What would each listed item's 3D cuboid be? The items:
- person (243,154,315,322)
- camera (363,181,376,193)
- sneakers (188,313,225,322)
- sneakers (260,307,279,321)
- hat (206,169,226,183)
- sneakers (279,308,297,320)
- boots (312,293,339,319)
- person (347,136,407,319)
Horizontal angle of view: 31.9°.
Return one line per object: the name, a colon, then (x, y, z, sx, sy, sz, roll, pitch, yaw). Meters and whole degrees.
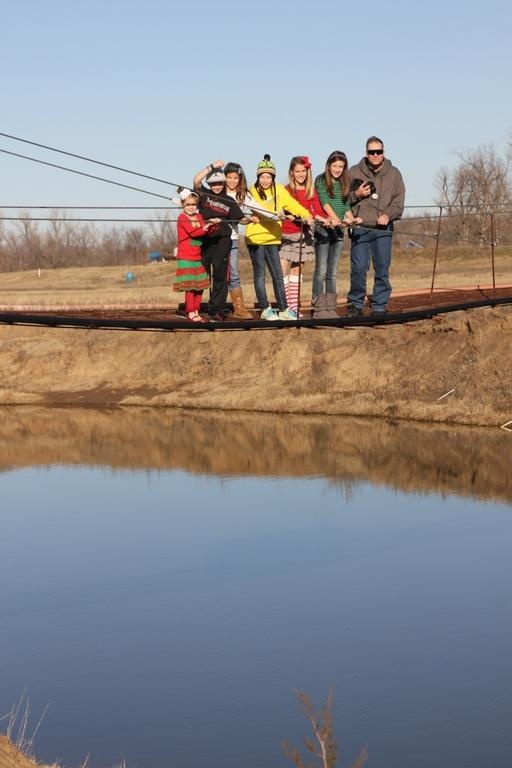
person: (0.250, -1.840, 11.117, 0.710, 2.036, 1.102, -2, 6, -13)
camera: (1.396, -2.427, 10.895, 0.134, 0.152, 0.054, -1, -13, -3)
sneakers: (-0.668, -0.852, 11.436, 0.232, 0.171, 0.617, -1, 1, -24)
sneakers: (0.209, -0.889, 11.260, 0.120, 0.181, 0.371, -1, -1, -19)
hat: (-0.507, -2.620, 11.277, 0.219, 0.197, 0.344, -1, 6, -3)
sneakers: (0.459, -0.892, 11.299, 0.322, 0.167, 0.115, 0, 12, -9)
boots: (0.825, -1.004, 11.364, 0.343, 0.370, 0.294, 4, 8, 41)
person: (1.461, -1.919, 11.017, 0.653, 2.085, 0.871, -3, 6, -18)
